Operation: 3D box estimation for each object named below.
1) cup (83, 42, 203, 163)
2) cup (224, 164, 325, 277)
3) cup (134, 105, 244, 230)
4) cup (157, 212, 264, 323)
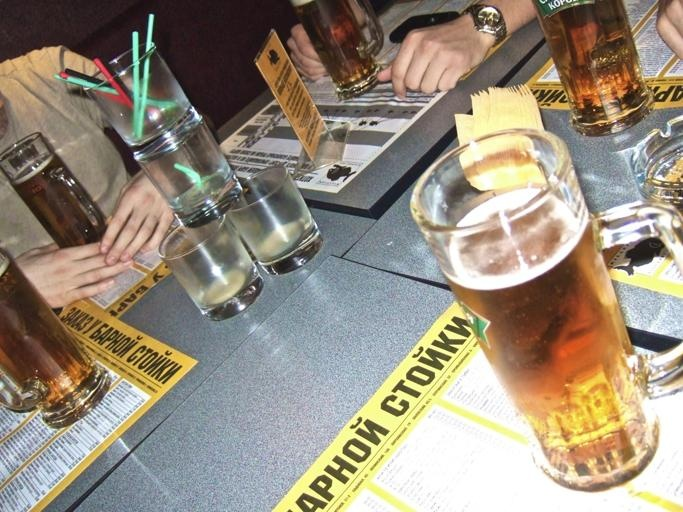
[{"bbox_3d":[-0.354,-0.286,0.983,0.161,0.136,0.185,-11,39,37],"label":"cup"},{"bbox_3d":[-0.143,-0.055,1.018,0.168,0.192,0.178,-30,-2,-1],"label":"cup"},{"bbox_3d":[-0.303,-0.192,0.953,0.137,0.210,0.132,-9,36,7],"label":"cup"},{"bbox_3d":[-0.254,0.017,0.997,0.150,0.169,0.193,-27,19,-14],"label":"cup"}]
